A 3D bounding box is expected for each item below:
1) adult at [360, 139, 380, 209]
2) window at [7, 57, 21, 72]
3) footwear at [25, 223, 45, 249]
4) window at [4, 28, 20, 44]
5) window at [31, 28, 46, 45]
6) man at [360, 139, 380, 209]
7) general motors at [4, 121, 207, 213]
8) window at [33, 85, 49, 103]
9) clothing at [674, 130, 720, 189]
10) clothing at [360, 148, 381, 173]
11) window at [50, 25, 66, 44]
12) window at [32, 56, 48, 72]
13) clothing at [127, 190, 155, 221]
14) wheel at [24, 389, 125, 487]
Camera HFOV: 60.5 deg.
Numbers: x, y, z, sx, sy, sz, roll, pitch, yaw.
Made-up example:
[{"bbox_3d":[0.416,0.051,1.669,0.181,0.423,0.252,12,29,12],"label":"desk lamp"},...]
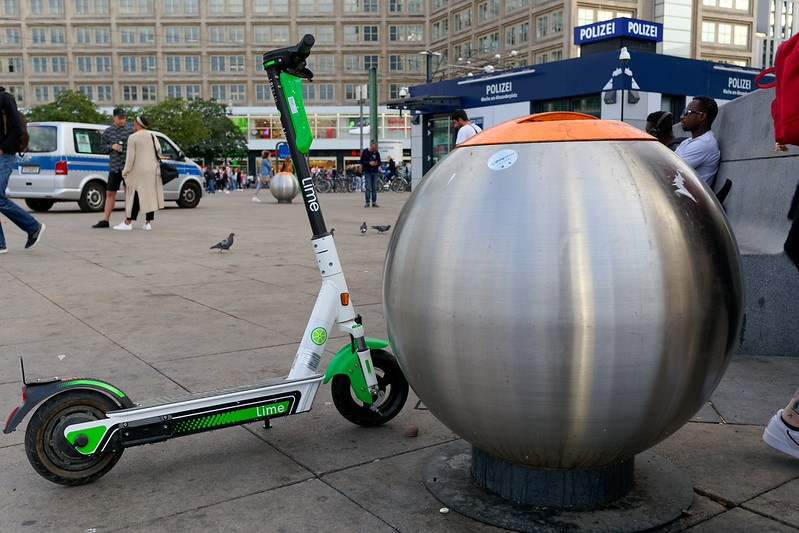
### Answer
[{"bbox_3d":[-0.833,-2.907,21.275,0.735,2.024,0.746,-6,7,-40],"label":"adult"},{"bbox_3d":[-50.252,-26.426,89.222,0.283,2.179,1.968,4,0,31],"label":"window"},{"bbox_3d":[-5.561,-0.469,10.416,0.168,0.414,0.151,20,9,-42],"label":"footwear"},{"bbox_3d":[-50.600,-30.163,89.438,2.168,2.459,0.345,0,1,-23],"label":"window"},{"bbox_3d":[-47.261,-30.022,89.365,2.184,2.587,0.286,-3,2,-30],"label":"window"},{"bbox_3d":[-0.833,-2.904,21.246,0.743,2.020,0.792,-5,7,-29],"label":"man"},{"bbox_3d":[-7.658,-2.527,18.951,2.884,2.538,5.345,8,13,36],"label":"general motors"},{"bbox_3d":[-47.082,-22.646,89.603,2.362,2.818,0.226,-4,7,-32],"label":"window"},{"bbox_3d":[2.947,-1.059,6.740,0.386,0.529,0.485,7,15,24],"label":"clothing"},{"bbox_3d":[-0.836,-3.233,20.650,0.759,0.904,0.598,-3,4,-32],"label":"clothing"},{"bbox_3d":[-44.656,-30.327,89.480,2.598,2.847,0.408,-1,11,-13],"label":"window"},{"bbox_3d":[-46.924,-26.392,89.265,2.052,2.434,0.219,-2,3,-32],"label":"window"},{"bbox_3d":[-5.140,-1.211,13.665,0.345,0.588,0.358,1,1,-22],"label":"clothing"},{"bbox_3d":[-1.703,0.876,3.583,0.526,0.544,0.127,2,4,-5],"label":"wheel"}]
